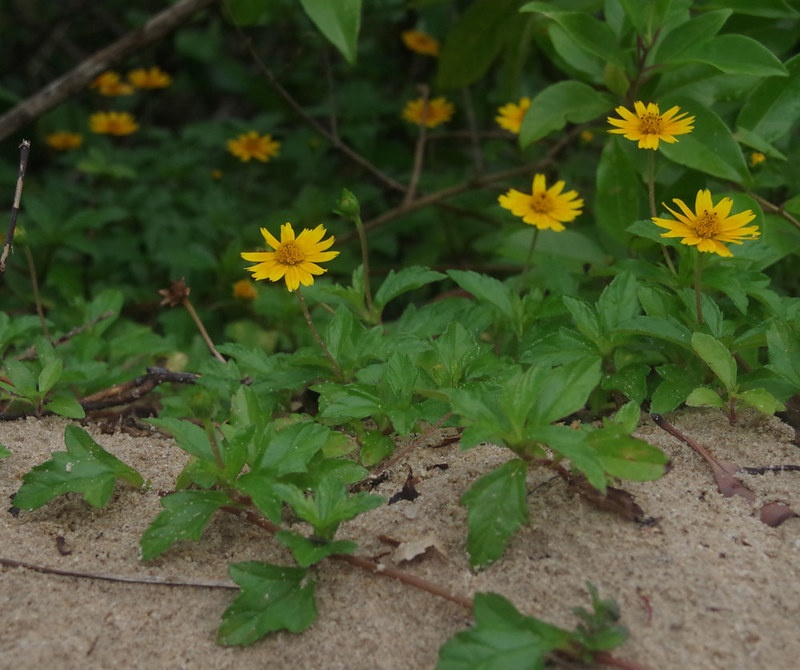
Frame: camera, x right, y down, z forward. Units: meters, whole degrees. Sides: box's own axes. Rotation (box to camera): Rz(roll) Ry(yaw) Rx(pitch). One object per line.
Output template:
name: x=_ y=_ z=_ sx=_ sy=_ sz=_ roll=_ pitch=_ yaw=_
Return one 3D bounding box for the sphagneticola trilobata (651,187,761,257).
sphagneticola trilobata: x=0.894 y=-0.318 z=2.376 sx=0.237 sy=0.139 sz=0.247 roll=30 pitch=55 yaw=31

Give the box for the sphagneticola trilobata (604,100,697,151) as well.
sphagneticola trilobata: x=0.772 y=-0.648 z=2.558 sx=0.287 sy=0.072 sz=0.267 roll=5 pitch=-6 yaw=-36

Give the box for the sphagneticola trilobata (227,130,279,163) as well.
sphagneticola trilobata: x=-0.538 y=-0.695 z=3.051 sx=0.184 sy=0.062 sz=0.154 roll=0 pitch=35 yaw=-2

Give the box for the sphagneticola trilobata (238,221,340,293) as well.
sphagneticola trilobata: x=-0.328 y=-0.252 z=2.443 sx=0.292 sy=0.260 sz=0.072 roll=-5 pitch=75 yaw=14
